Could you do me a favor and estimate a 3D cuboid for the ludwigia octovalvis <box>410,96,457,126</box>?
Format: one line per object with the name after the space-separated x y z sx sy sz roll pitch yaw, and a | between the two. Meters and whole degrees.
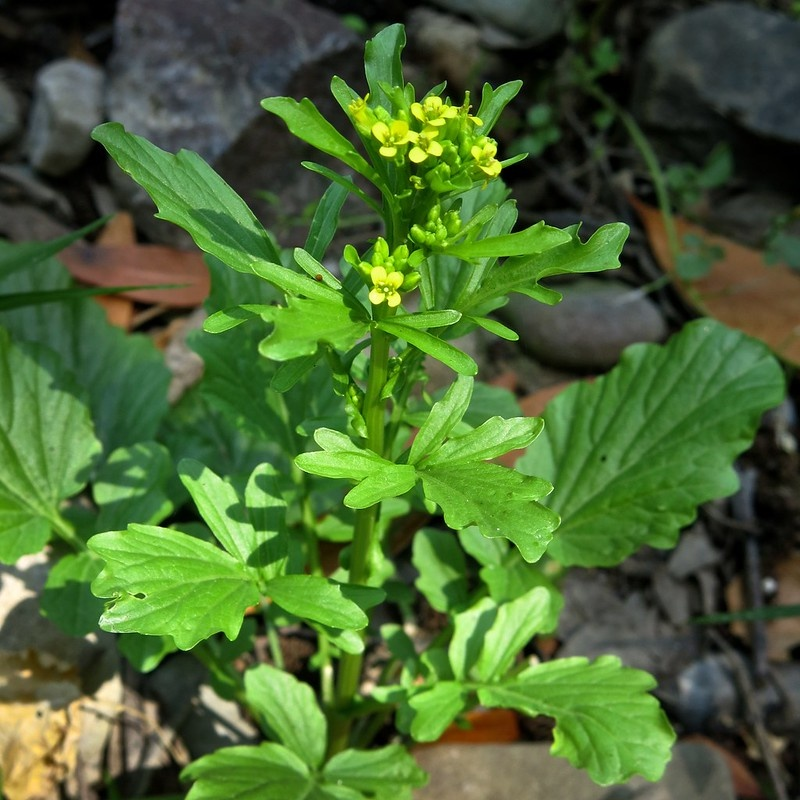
0.053 -0.435 1.295 0.056 0.028 0.058 39 59 20 | ludwigia octovalvis

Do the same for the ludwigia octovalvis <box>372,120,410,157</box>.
-0.011 -0.381 1.259 0.055 0.044 0.081 -3 64 -5 | ludwigia octovalvis
